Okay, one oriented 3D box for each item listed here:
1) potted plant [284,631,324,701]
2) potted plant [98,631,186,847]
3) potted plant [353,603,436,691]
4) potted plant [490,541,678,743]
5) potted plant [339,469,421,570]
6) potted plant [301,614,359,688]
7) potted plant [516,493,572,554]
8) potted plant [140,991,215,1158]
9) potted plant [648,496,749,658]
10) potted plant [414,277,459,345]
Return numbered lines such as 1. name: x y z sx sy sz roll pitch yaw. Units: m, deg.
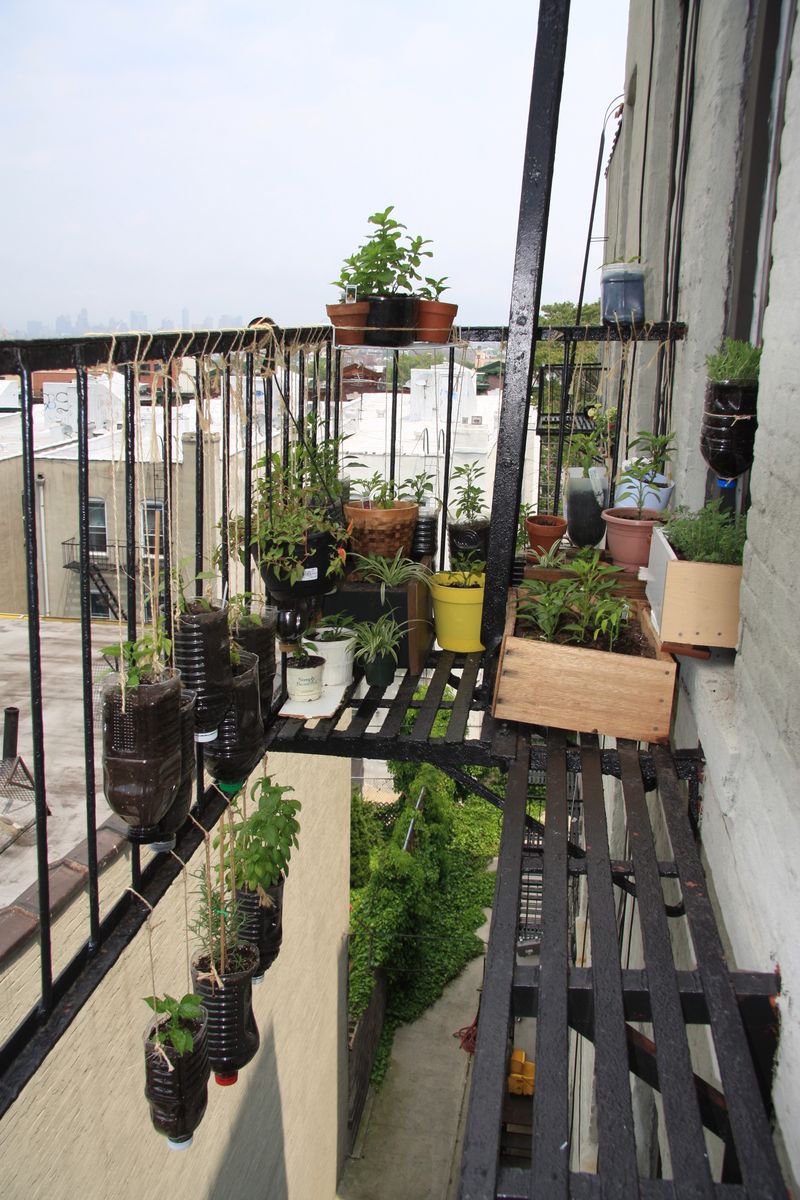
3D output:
1. potted plant: -0.319 0.220 2.669 0.166 0.270 0.187 0 8 -1
2. potted plant: -0.475 0.260 1.454 0.164 0.402 0.243 -7 5 -19
3. potted plant: -0.030 0.175 2.992 0.271 0.240 0.270 -6 7 -38
4. potted plant: 0.542 0.052 2.269 0.401 0.266 0.610 4 15 6
5. potted plant: -0.069 -0.317 3.166 0.292 0.262 0.352 0 8 0
6. potted plant: -0.236 0.198 2.805 0.188 0.169 0.186 3 10 23
7. potted plant: 0.609 -0.308 3.224 0.174 0.147 0.184 -3 20 -10
8. potted plant: -0.430 0.937 1.514 0.119 0.360 0.197 -6 5 -16
9. potted plant: 0.798 -0.041 2.069 0.207 0.291 0.410 -1 20 5
10. potted plant: 0.134 -1.175 3.163 0.177 0.244 0.200 2 10 -3
